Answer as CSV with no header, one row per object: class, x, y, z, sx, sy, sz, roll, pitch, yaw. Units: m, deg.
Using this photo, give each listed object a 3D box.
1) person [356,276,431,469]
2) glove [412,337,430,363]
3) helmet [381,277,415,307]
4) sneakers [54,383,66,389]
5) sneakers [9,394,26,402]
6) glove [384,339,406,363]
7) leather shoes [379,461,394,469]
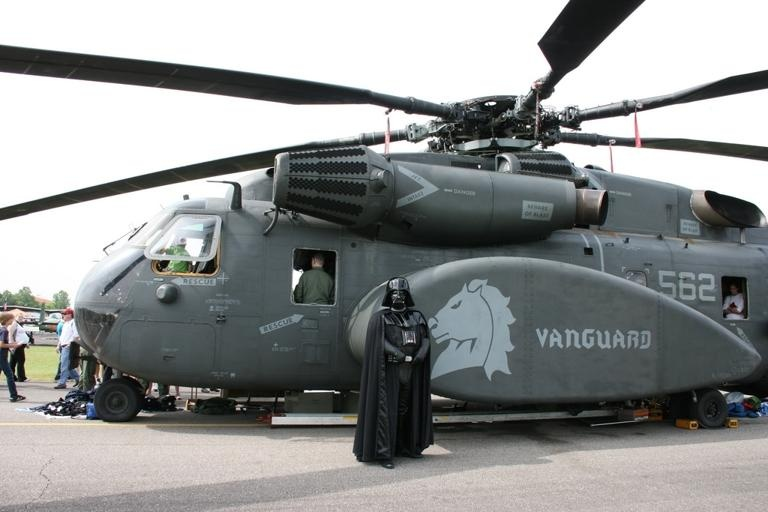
person,0.203,2.149,11.459,1.118,2.531,0.613,9,-12,-36
glove,0.642,1.611,11.595,0.346,0.346,0.138,11,-19,-5
helmet,0.268,0.636,11.890,0.641,0.500,0.321,3,-20,-7
sneakers,-8.963,3.570,18.702,0.479,0.137,0.138,2,-9,8
sneakers,-8.732,3.342,15.992,0.505,0.179,0.150,-2,0,-7
glove,0.156,1.599,11.263,0.465,0.235,0.160,20,-4,14
leather shoes,0.056,3.328,10.881,0.237,0.090,0.174,1,-8,2
